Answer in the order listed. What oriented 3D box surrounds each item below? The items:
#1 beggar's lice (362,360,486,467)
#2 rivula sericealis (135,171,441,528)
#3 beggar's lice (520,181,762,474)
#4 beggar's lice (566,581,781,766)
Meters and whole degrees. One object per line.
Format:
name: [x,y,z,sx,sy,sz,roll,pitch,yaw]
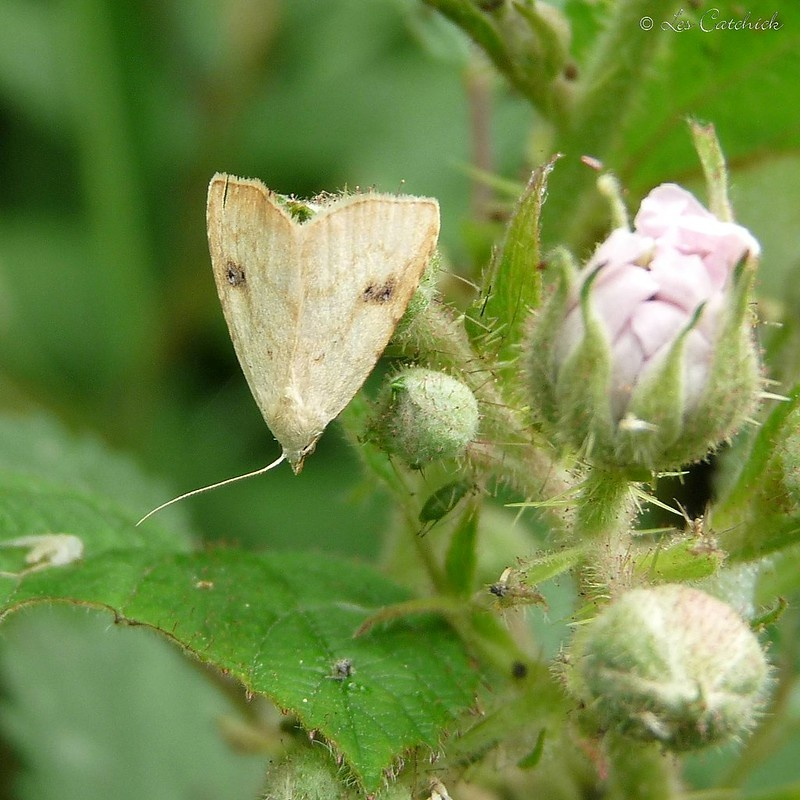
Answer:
beggar's lice: [0.032,0.024,1.405,0.119,0.122,0.103,-24,74,-7]
rivula sericealis: [-0.131,-0.075,1.382,0.333,0.426,0.092,10,5,34]
beggar's lice: [0.297,-0.075,1.354,0.254,0.324,0.223,-5,20,-43]
beggar's lice: [0.305,0.282,1.271,0.204,0.168,0.121,6,46,15]
